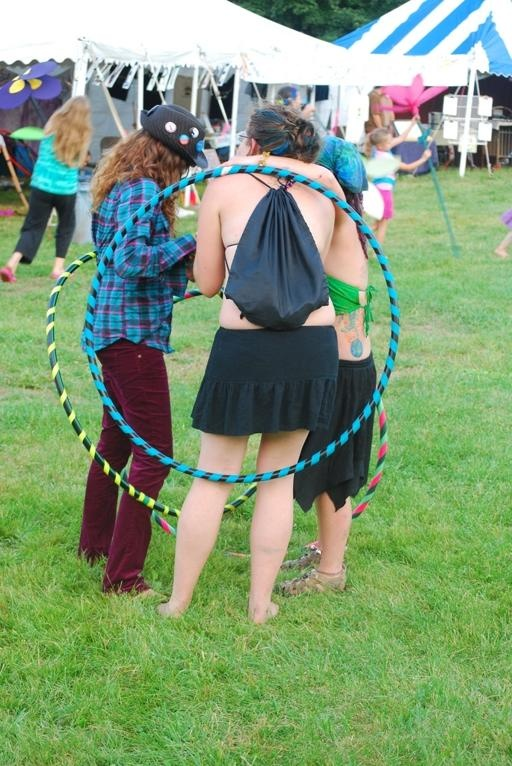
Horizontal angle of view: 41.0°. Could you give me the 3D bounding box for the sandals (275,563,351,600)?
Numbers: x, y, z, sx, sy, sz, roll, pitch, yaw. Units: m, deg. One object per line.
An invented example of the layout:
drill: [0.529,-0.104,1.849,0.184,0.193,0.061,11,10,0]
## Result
sandals: [0.224,0.783,2.715,0.287,0.103,0.098,0,-3,-4]

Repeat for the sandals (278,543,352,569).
sandals: [0.239,0.754,2.987,0.224,0.088,0.074,3,-7,-42]

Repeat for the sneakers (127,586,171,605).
sneakers: [-0.386,0.773,2.482,0.149,0.061,0.051,-13,-6,33]

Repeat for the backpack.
backpack: [0.092,-0.392,2.045,0.344,0.122,0.476,10,-29,11]
